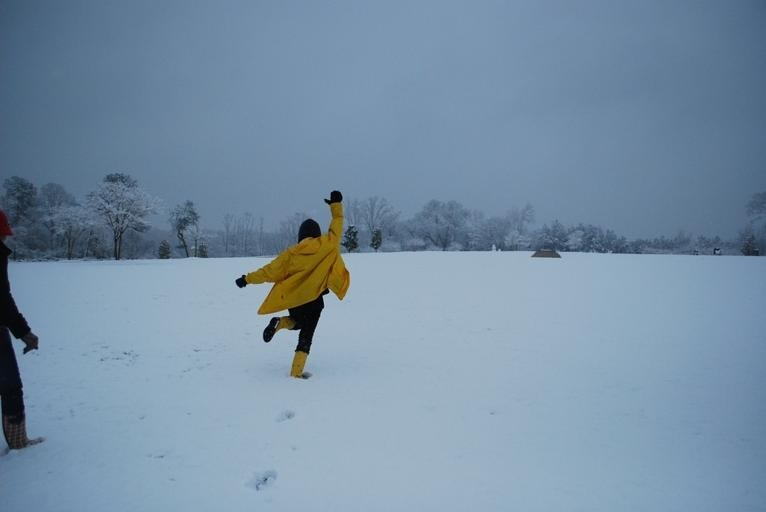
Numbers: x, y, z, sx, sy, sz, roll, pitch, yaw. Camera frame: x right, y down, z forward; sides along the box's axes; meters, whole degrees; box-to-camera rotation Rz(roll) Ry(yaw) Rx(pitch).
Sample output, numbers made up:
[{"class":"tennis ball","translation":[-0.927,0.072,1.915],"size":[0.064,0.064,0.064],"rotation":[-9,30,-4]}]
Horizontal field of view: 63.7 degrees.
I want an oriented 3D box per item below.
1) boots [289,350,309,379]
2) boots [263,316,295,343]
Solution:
[{"class":"boots","translation":[-1.348,1.709,9.840],"size":[0.311,0.467,0.403],"rotation":[-6,13,-21]},{"class":"boots","translation":[-1.801,1.306,10.756],"size":[0.180,0.511,0.350],"rotation":[27,-11,48]}]
